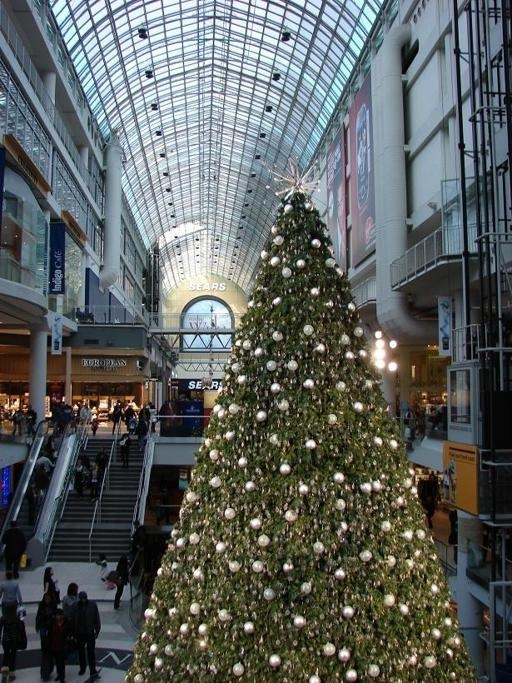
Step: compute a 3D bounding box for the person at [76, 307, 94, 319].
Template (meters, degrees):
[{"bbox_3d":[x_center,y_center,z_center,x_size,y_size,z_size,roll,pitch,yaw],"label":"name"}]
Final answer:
[{"bbox_3d":[-10.398,-1.649,32.663,0.890,0.598,0.628,4,5,-44],"label":"person"}]
